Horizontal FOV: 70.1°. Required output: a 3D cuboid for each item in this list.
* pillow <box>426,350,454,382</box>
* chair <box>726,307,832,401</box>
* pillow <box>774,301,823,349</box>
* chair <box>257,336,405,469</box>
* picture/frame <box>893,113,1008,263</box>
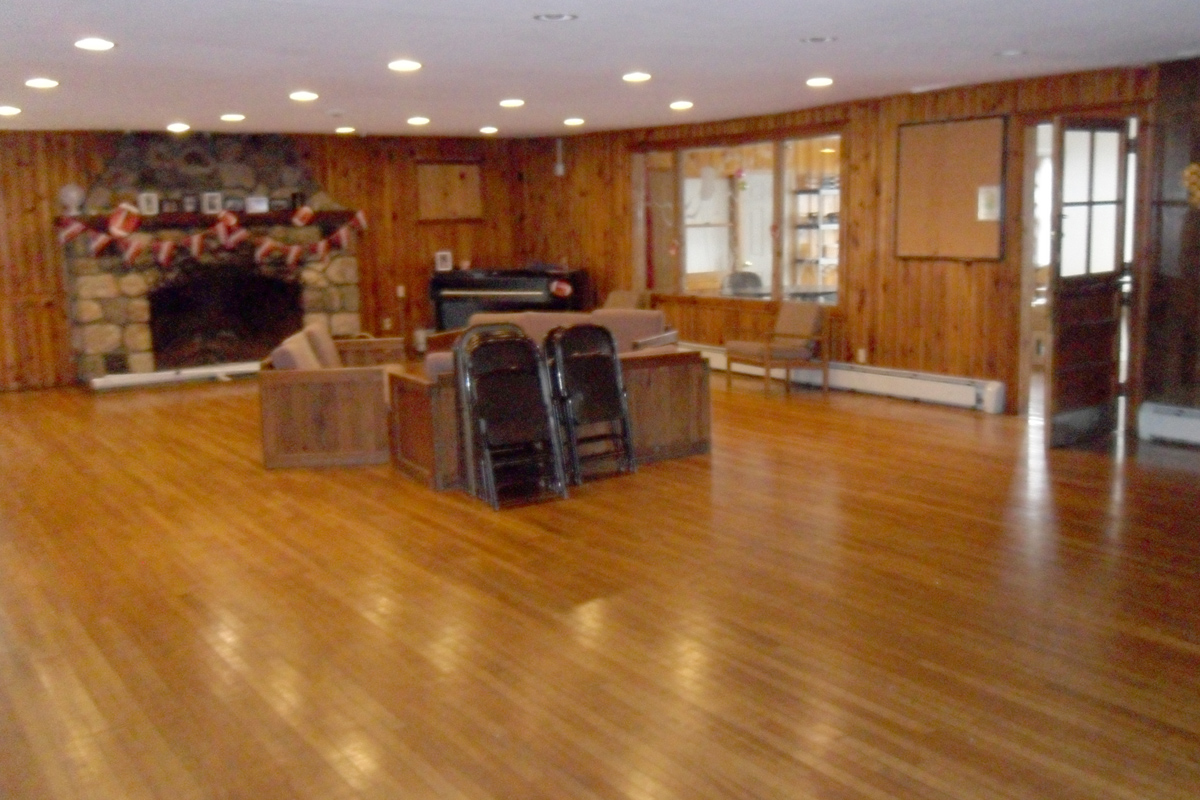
[{"bbox_3d":[-1.249,-0.267,6.676,0.231,0.199,0.229,-1,-1,-23],"label":"pillow"},{"bbox_3d":[2.052,-0.647,10.028,0.980,0.947,1.056,-5,10,-25],"label":"chair"},{"bbox_3d":[2.286,-0.885,9.842,0.533,0.511,0.146,11,-1,37],"label":"pillow"},{"bbox_3d":[-2.429,0.171,7.806,0.991,0.881,1.720,-4,17,-11],"label":"chair"},{"bbox_3d":[3.645,-2.206,8.936,0.142,1.422,1.194,-19,21,-37],"label":"picture/frame"}]
